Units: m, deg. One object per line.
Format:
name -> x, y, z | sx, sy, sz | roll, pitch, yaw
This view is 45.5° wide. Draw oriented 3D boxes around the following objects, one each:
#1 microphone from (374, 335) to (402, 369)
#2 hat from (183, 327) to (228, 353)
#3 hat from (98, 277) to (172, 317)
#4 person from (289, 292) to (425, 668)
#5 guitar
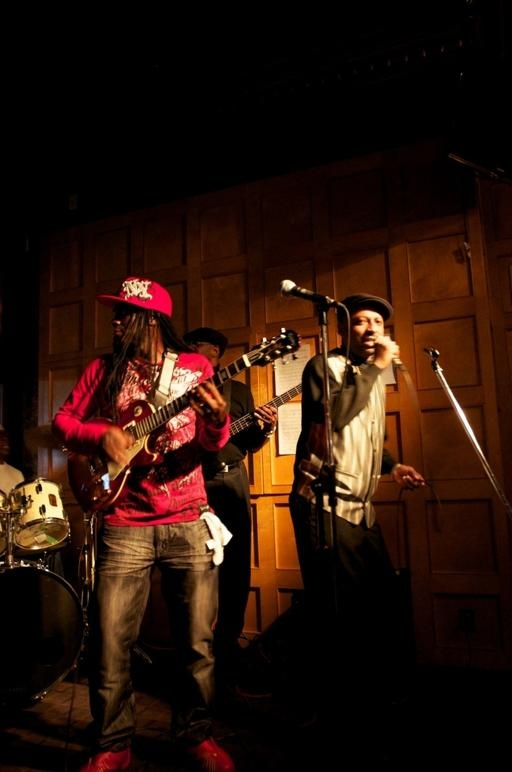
microphone -> 0.504, -0.127, 2.328 | 0.093, 0.126, 0.044 | 0, -10, 17
hat -> -0.294, -0.281, 3.601 | 0.192, 0.080, 0.219 | -1, -22, 34
hat -> -0.443, -0.323, 2.249 | 0.222, 0.114, 0.154 | 11, -2, -14
person -> 0.351, 0.281, 2.326 | 0.443, 1.360, 0.757 | -4, -5, 42
guitar -> -0.239, 0.173, 2.512 | 1.099, 0.395, 0.188 | -29, -22, 7
